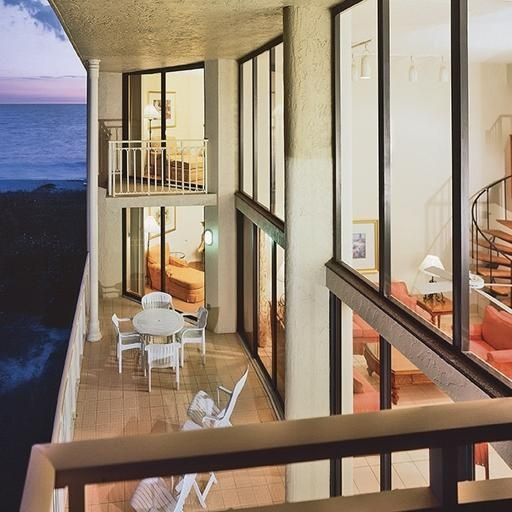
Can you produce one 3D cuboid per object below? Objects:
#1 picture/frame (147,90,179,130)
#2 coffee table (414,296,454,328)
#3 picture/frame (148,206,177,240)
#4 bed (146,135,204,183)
[{"bbox_3d":[-2.186,-3.432,11.591,0.655,0.999,0.031,-2,-20,-8],"label":"picture/frame"},{"bbox_3d":[1.301,0.366,3.574,0.149,0.159,0.303,-4,13,-10],"label":"coffee table"},{"bbox_3d":[-2.299,-0.862,12.292,0.666,0.913,0.035,0,2,-2],"label":"picture/frame"},{"bbox_3d":[-1.857,-2.217,11.573,1.150,0.848,1.211,-8,14,-37],"label":"bed"}]
